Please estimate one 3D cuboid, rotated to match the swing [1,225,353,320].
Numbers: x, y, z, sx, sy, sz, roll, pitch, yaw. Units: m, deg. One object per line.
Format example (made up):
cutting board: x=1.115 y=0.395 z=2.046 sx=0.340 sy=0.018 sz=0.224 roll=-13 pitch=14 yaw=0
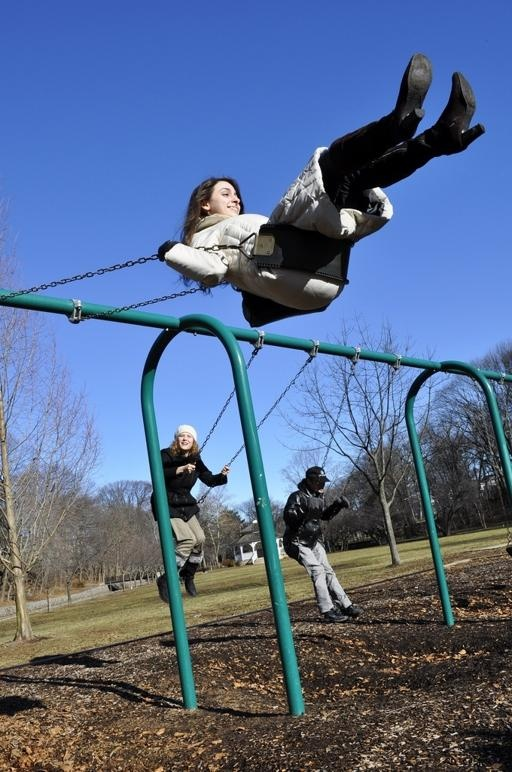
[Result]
swing: x=-0.344 y=-0.519 z=2.789 sx=1.509 sy=0.410 sz=0.451 roll=7 pitch=-13 yaw=12
